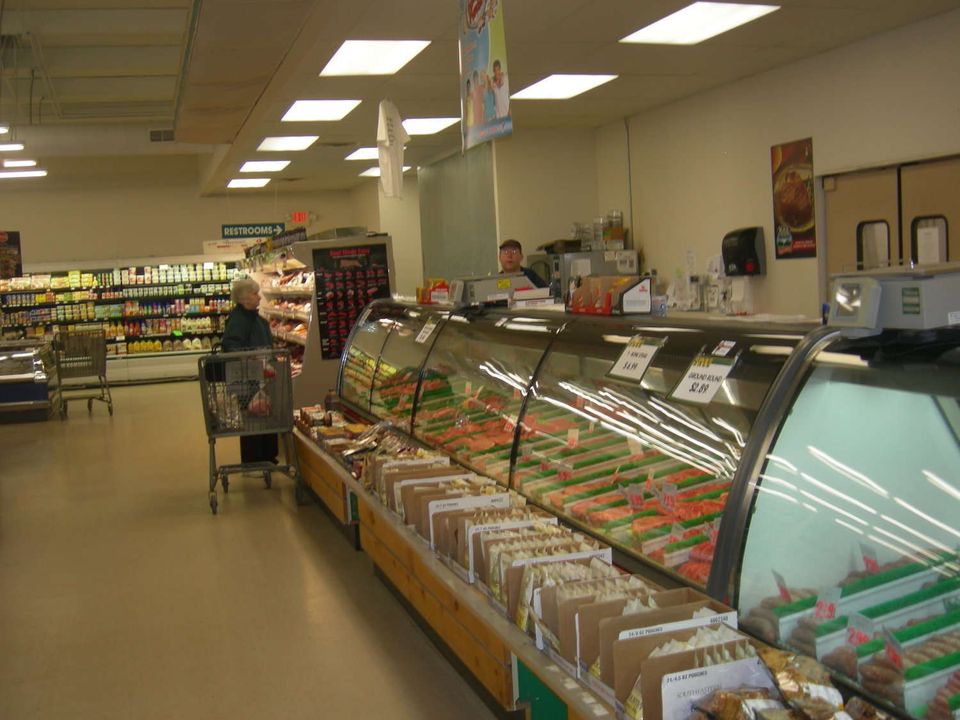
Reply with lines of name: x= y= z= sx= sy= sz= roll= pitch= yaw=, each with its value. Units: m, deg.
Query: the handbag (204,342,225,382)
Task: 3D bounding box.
handbag: x=-2.192 y=0.088 z=5.738 sx=0.150 sy=0.210 sz=0.126 roll=-5 pitch=10 yaw=-25

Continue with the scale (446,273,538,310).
scale: x=0.058 y=-0.488 z=4.720 sx=0.420 sy=0.137 sz=0.318 roll=-6 pitch=5 yaw=-17

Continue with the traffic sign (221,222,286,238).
traffic sign: x=-4.587 y=-2.646 z=14.074 sx=1.088 sy=0.285 sz=0.550 roll=-1 pitch=10 yaw=2

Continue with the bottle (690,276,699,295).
bottle: x=2.315 y=-0.828 z=7.456 sx=0.088 sy=0.165 sz=0.098 roll=1 pitch=9 yaw=17

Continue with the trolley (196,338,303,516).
trolley: x=-2.049 y=0.506 z=6.254 sx=0.730 sy=1.390 sz=1.079 roll=-3 pitch=11 yaw=-18
